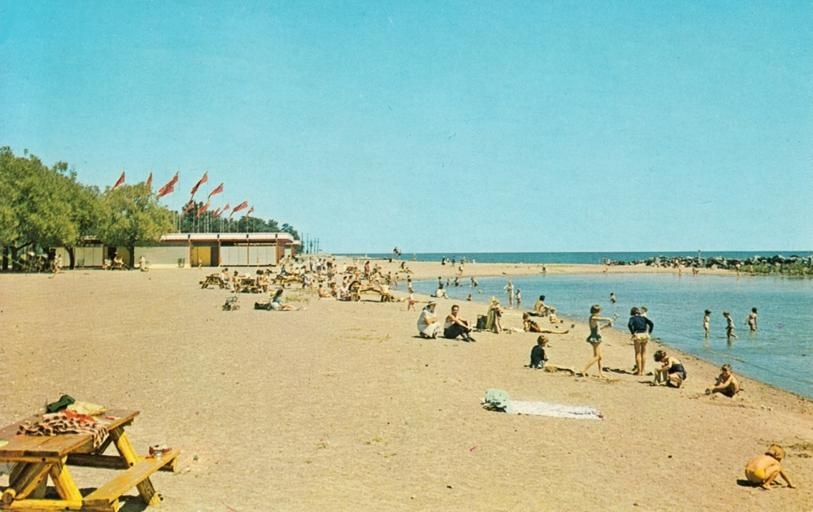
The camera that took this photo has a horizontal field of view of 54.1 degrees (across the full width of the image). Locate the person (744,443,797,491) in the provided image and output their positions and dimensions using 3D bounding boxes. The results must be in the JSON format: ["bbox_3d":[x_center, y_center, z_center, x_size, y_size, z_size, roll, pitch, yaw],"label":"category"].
[{"bbox_3d":[11.607,6.720,25.369,1.586,1.220,0.875,1,6,-22],"label":"person"}]
